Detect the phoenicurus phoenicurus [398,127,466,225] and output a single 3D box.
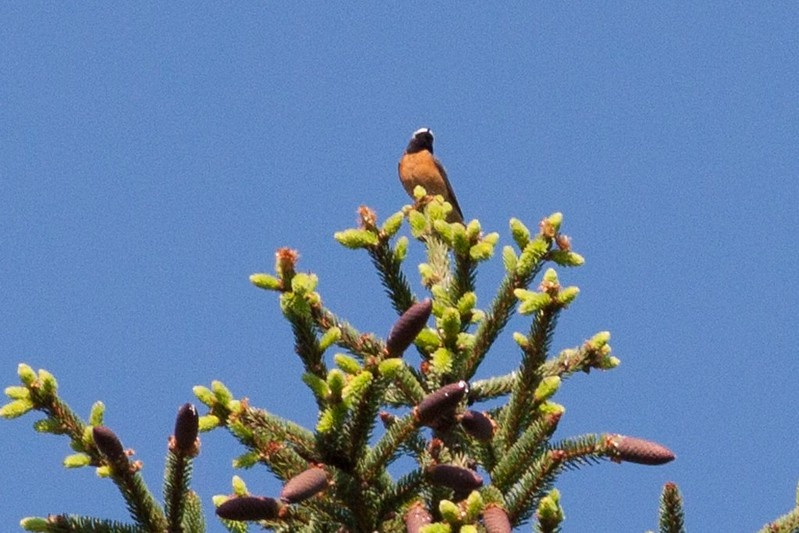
[{"bbox_3d":[0.251,-0.703,12.268,0.317,0.630,0.985,-3,-15,13],"label":"phoenicurus phoenicurus"}]
